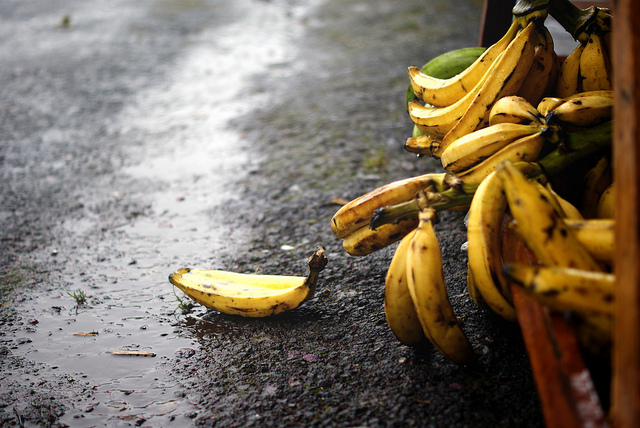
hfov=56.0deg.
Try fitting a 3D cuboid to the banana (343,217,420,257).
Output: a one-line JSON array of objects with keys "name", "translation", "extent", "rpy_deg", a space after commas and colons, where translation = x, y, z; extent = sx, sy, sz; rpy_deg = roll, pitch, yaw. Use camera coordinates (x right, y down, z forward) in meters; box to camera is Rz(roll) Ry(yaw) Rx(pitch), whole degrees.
[{"name": "banana", "translation": [0.314, 0.137, 3.179], "extent": [0.355, 0.175, 0.096], "rpy_deg": [-29, 57, 23]}]

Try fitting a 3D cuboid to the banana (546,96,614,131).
[{"name": "banana", "translation": [1.299, -0.491, 2.995], "extent": [0.355, 0.100, 0.197], "rpy_deg": [12, 27, -2]}]

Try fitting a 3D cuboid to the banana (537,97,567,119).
[{"name": "banana", "translation": [1.155, -0.530, 3.008], "extent": [0.129, 0.066, 0.094], "rpy_deg": [-10, 22, 5]}]

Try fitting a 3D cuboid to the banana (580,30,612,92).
[{"name": "banana", "translation": [1.414, -0.760, 3.150], "extent": [0.113, 0.135, 0.356], "rpy_deg": [-9, 84, 5]}]

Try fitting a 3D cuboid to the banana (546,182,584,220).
[{"name": "banana", "translation": [1.189, -0.069, 2.924], "extent": [0.271, 0.049, 0.066], "rpy_deg": [36, 96, 13]}]

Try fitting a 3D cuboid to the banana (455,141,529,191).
[{"name": "banana", "translation": [0.833, -0.235, 2.880], "extent": [0.321, 0.083, 0.099], "rpy_deg": [-33, 47, 1]}]

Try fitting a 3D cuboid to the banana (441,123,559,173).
[{"name": "banana", "translation": [0.908, -0.323, 2.959], "extent": [0.445, 0.171, 0.114], "rpy_deg": [-21, 86, 11]}]

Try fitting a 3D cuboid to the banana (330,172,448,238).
[{"name": "banana", "translation": [0.388, -0.044, 3.170], "extent": [0.840, 0.214, 0.176], "rpy_deg": [-16, 5, 43]}]

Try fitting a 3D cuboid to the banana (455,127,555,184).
[{"name": "banana", "translation": [0.916, -0.289, 2.918], "extent": [0.383, 0.089, 0.141], "rpy_deg": [-27, 28, 7]}]

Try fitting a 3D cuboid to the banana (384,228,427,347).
[{"name": "banana", "translation": [0.424, 0.371, 3.133], "extent": [0.231, 0.175, 0.597], "rpy_deg": [-13, 88, 23]}]
